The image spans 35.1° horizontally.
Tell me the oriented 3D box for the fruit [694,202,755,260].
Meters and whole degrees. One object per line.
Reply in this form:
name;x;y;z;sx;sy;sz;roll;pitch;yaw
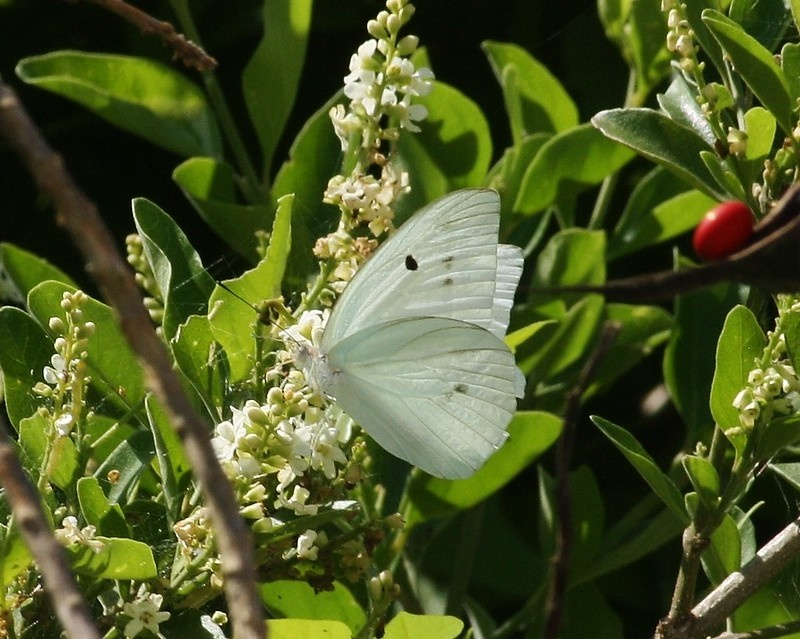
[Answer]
fruit;0.366;-0.099;1.443;0.073;0.051;0.045;-43;-14;3

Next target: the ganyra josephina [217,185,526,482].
ganyra josephina;-0.003;0.016;2.275;0.352;0.452;0.501;-65;15;-11
